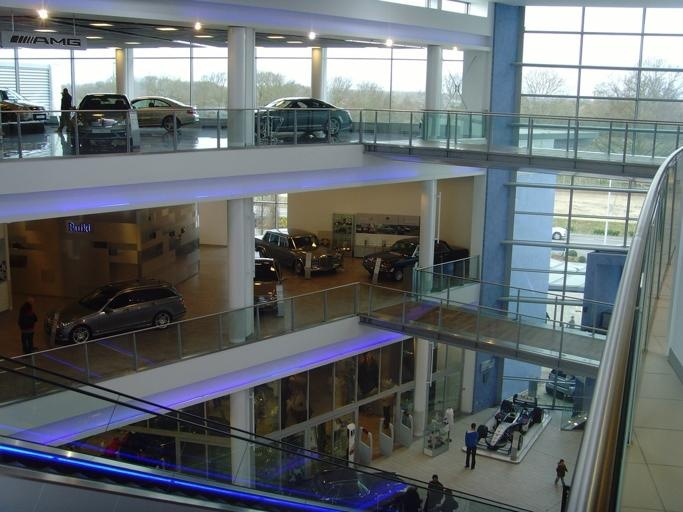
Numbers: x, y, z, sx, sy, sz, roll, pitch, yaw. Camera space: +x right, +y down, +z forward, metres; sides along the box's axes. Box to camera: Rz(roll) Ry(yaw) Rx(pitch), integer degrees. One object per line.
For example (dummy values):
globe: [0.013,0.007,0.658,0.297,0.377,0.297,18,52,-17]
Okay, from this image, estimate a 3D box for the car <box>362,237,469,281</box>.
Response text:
car: [2.783,0.209,22.402,3.838,1.445,1.384,-2,15,-15]

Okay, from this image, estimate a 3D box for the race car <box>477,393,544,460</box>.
race car: [6.397,6.477,21.547,1.722,1.665,1.940,4,1,-11]

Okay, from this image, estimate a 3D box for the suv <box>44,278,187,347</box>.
suv: [-5.641,1.400,14.600,3.083,1.234,0.742,-7,17,-31]

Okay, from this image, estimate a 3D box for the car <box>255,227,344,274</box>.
car: [-1.771,-0.172,23.487,3.416,1.426,1.409,14,19,42]

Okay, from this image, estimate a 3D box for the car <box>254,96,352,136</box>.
car: [-0.970,-3.685,15.934,3.409,1.015,1.396,-1,13,-32]
